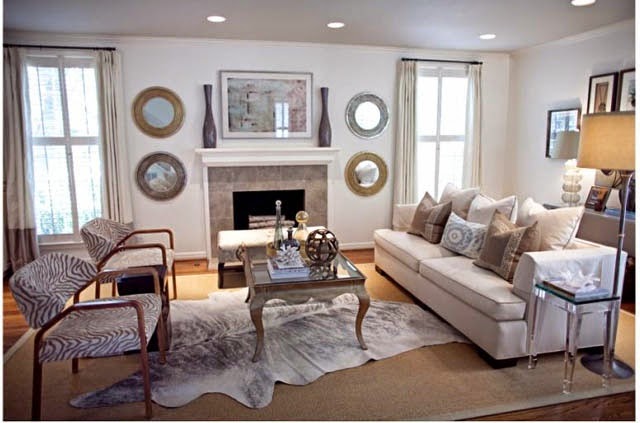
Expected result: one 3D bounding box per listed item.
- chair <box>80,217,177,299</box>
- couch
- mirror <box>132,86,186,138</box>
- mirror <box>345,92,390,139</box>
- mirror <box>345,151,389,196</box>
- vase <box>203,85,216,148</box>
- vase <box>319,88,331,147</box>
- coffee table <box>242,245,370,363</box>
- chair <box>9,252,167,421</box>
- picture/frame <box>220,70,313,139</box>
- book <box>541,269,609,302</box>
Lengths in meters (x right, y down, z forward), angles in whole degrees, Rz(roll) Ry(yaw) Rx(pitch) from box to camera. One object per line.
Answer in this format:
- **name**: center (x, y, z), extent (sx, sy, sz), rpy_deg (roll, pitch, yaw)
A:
- **chair**: center (-2.120, 0.605, 4.706), extent (0.960, 0.962, 0.812), rpy_deg (2, 8, -5)
- **couch**: center (1.783, 0.767, 4.191), extent (1.127, 0.870, 2.255), rpy_deg (-1, 9, -14)
- **mirror**: center (-2.238, -1.375, 5.840), extent (0.704, 0.668, 0.677), rpy_deg (0, 7, -5)
- **mirror**: center (0.696, -1.414, 6.327), extent (0.682, 0.644, 0.654), rpy_deg (-1, 12, -11)
- **mirror**: center (0.702, -0.575, 6.433), extent (0.647, 0.661, 0.139), rpy_deg (-5, 13, -19)
- **vase**: center (-1.567, -1.330, 5.884), extent (0.189, 0.869, 0.231), rpy_deg (-4, 13, -12)
- **vase**: center (0.058, -1.369, 6.145), extent (0.170, 0.849, 0.198), rpy_deg (0, 12, 5)
- **coffee table**: center (-0.164, 0.700, 4.098), extent (0.960, 0.592, 1.251), rpy_deg (-3, 11, -13)
- **chair**: center (-1.873, 0.978, 3.512), extent (1.035, 1.191, 0.960), rpy_deg (-5, 12, -19)
- **picture/frame**: center (-0.745, -1.526, 6.034), extent (1.333, 0.947, 0.055), rpy_deg (2, 9, 6)
- **book**: center (2.168, 0.608, 3.571), extent (0.414, 0.195, 0.374), rpy_deg (-5, 11, -21)
